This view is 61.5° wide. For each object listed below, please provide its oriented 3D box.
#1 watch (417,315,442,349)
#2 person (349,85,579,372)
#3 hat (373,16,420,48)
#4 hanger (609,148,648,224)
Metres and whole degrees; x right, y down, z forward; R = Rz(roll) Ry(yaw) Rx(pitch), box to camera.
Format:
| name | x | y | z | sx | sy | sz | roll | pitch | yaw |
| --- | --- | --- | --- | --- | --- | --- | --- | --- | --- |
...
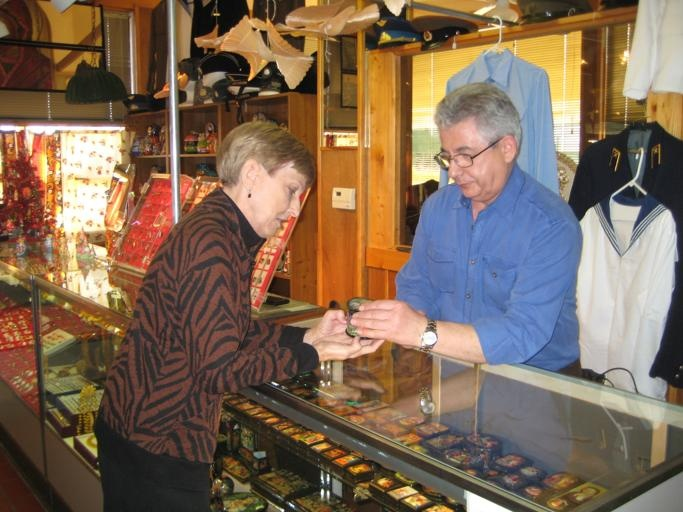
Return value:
| name | x | y | z | sx | sy | sz | roll | pitch | yaw |
| --- | --- | --- | --- | --- | --- | --- | --- | --- | --- |
| watch | 0.289 | 0.249 | 1.924 | 0.061 | 0.082 | 0.073 | 14 | -20 | 7 |
| person | 0.492 | -0.021 | 2.277 | 0.782 | 1.208 | 0.918 | 10 | 22 | 43 |
| hat | 0.358 | -1.501 | 3.853 | 0.265 | 0.136 | 0.190 | -10 | 21 | -19 |
| hanger | 1.465 | -0.356 | 2.940 | 0.088 | 0.391 | 0.160 | -8 | 11 | -41 |
